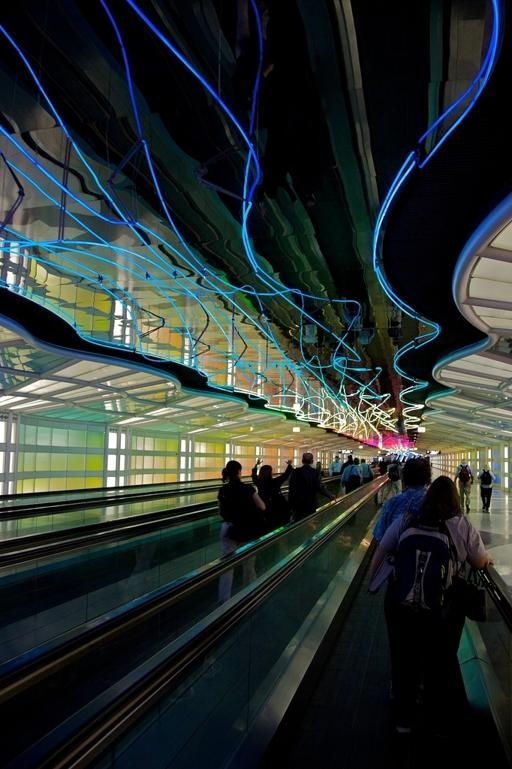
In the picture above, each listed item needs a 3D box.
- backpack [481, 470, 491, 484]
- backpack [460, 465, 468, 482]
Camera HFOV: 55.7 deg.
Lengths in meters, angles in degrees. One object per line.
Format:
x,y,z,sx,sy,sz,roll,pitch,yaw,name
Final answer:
9.191,3.703,19.361,0.474,0.535,0.308,-6,-34,40,backpack
7.313,3.120,16.970,0.337,0.455,0.457,-1,4,19,backpack
